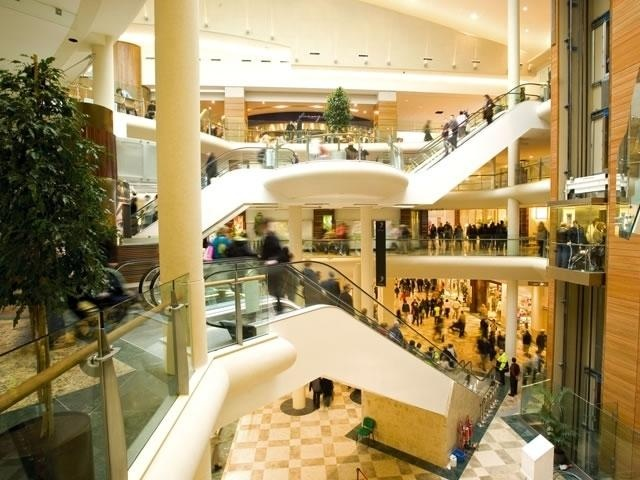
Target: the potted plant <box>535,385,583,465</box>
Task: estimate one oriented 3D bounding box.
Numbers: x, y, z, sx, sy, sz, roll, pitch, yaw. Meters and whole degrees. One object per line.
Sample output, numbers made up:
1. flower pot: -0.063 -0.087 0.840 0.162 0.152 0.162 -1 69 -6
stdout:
1. potted plant: 5.480 4.368 11.260 0.883 1.592 0.905 0 -24 17
